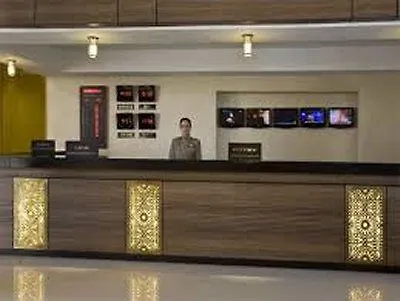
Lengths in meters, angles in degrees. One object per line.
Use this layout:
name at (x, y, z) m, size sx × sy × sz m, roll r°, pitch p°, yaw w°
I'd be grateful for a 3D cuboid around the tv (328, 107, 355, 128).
tv at (2.695, -0.635, 8.027) m, size 0.388 × 0.338 × 0.053 m, roll 1°, pitch -2°, yaw 10°

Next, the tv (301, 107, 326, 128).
tv at (2.173, -0.640, 8.066) m, size 0.397 × 0.351 × 0.054 m, roll 0°, pitch 3°, yaw 4°

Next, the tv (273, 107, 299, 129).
tv at (1.655, -0.637, 8.108) m, size 0.404 × 0.351 × 0.055 m, roll 0°, pitch 0°, yaw 7°

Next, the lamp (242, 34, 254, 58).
lamp at (0.666, -1.488, 5.946) m, size 0.155 × 0.200 × 0.263 m, roll 2°, pitch 2°, yaw 6°

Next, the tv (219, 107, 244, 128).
tv at (0.605, -0.650, 8.164) m, size 0.385 × 0.330 × 0.054 m, roll 0°, pitch 5°, yaw 1°

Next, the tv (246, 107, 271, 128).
tv at (1.132, -0.644, 8.150) m, size 0.402 × 0.351 × 0.055 m, roll 0°, pitch -1°, yaw 5°

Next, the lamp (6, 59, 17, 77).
lamp at (-3.270, -1.431, 7.269) m, size 0.130 × 0.244 × 0.321 m, roll 1°, pitch 2°, yaw -25°

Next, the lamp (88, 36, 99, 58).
lamp at (-1.554, -1.497, 6.073) m, size 0.145 × 0.294 × 0.287 m, roll 2°, pitch 2°, yaw -16°
